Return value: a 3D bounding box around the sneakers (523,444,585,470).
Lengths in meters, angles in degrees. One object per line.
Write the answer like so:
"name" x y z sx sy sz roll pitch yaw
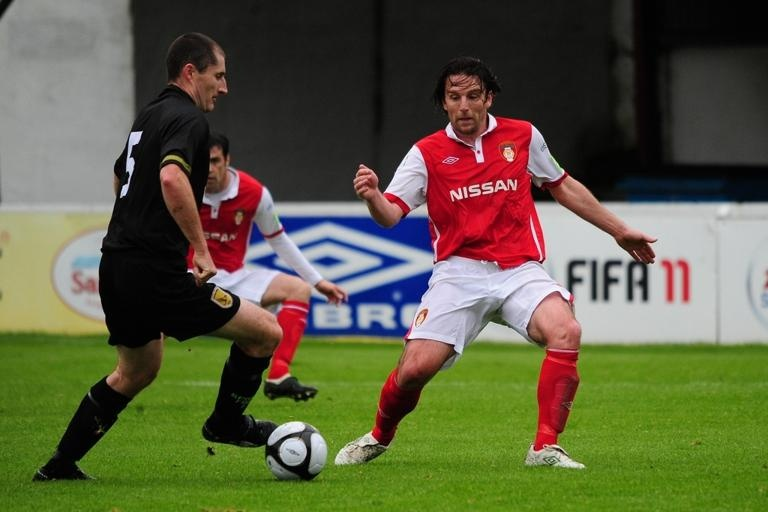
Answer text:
"sneakers" 1.324 1.574 8.501 0.477 0.199 0.173 2 -1 6

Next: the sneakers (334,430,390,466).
"sneakers" -0.185 1.572 8.725 0.421 0.182 0.202 -16 17 -6

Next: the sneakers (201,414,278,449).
"sneakers" -1.123 1.383 8.670 0.670 0.287 0.223 9 -8 -42

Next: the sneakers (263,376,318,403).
"sneakers" -0.918 1.303 10.506 0.591 0.300 0.213 2 -10 3

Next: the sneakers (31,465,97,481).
"sneakers" -2.453 1.672 8.339 0.466 0.190 0.160 0 1 -9
